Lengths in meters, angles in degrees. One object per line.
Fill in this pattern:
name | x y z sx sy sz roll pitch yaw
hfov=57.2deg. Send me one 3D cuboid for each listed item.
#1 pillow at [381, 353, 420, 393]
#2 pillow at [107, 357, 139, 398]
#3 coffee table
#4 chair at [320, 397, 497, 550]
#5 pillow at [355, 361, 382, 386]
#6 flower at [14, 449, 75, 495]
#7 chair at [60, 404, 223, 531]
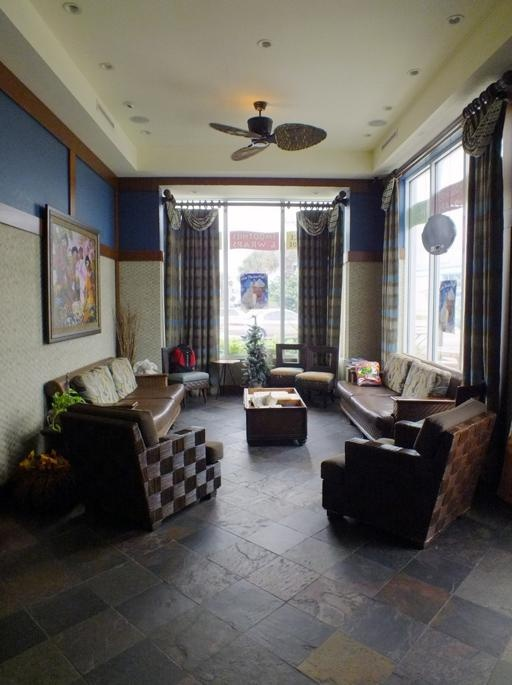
pillow | 1.698 0.384 5.633 0.112 0.371 0.366 5 2 -4
pillow | -1.511 0.406 5.341 0.092 0.371 0.360 -11 13 0
coffee table | 0.193 0.791 5.111 0.642 0.489 0.875 0 4 -1
chair | 0.969 0.770 3.067 0.829 0.800 0.754 4 5 42
pillow | 1.425 0.404 6.062 0.260 0.102 0.307 0 28 5
flower | -1.508 0.910 3.328 0.248 0.124 0.286 5 -1 3
chair | -0.741 0.760 3.239 0.668 0.758 0.916 4 5 26
